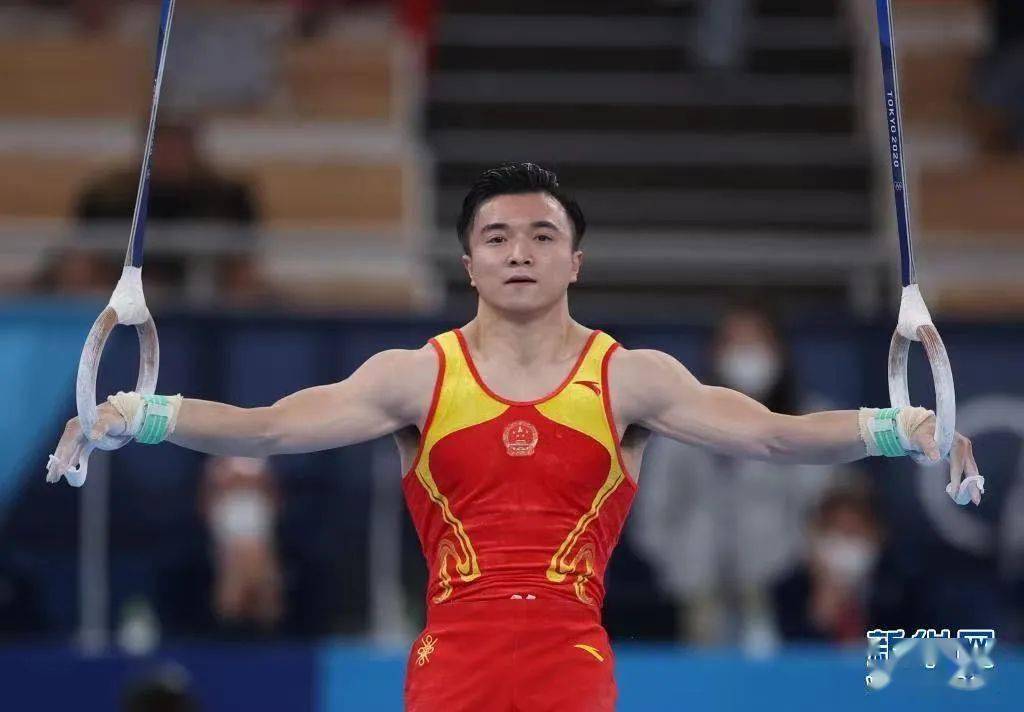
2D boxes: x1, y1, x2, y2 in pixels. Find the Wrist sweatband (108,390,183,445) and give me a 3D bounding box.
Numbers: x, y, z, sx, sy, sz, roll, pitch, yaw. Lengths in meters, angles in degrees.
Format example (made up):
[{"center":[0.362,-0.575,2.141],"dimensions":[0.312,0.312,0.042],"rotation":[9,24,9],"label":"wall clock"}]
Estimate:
[{"center":[-1.458,0.245,6.572],"dimensions":[0.254,0.125,0.190],"rotation":[1,-14,8],"label":"Wrist sweatband"}]
